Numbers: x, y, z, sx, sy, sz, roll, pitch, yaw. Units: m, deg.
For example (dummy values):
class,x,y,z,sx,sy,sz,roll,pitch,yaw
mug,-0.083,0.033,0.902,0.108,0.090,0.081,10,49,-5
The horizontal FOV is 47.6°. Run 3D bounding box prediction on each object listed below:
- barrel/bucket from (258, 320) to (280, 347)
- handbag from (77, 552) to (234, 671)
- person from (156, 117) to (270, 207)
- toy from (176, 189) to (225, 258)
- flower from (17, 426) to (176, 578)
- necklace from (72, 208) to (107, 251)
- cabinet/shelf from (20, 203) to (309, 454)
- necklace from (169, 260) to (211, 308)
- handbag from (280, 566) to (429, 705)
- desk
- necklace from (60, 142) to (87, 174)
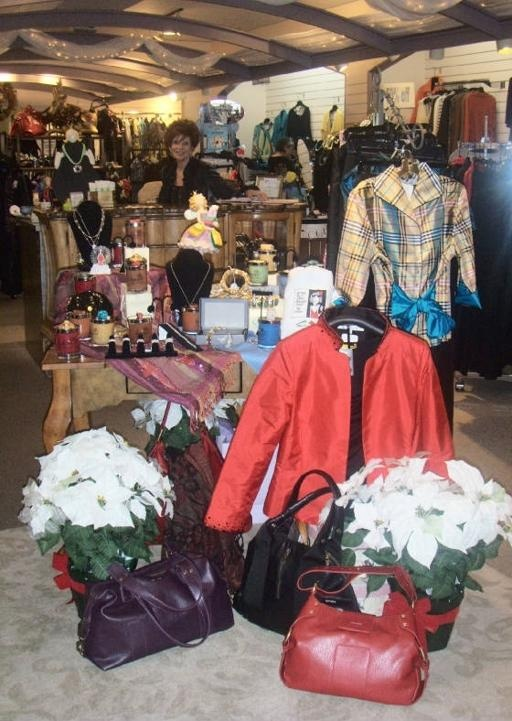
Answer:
class,x,y,z,sx,sy,sz,roll,pitch,yaw
barrel/bucket,0.049,-0.100,2.178,0.091,0.099,0.091,1,8,0
handbag,-0.270,0.721,1.682,0.441,0.258,0.235,-9,-1,-31
person,-0.563,-1.870,5.602,0.897,0.707,0.716,0,11,3
toy,-0.248,-0.593,2.512,0.172,0.266,0.260,-2,11,-7
flower,-0.474,0.436,1.747,0.404,0.410,0.289,2,11,13
necklace,-1.073,-0.843,3.694,0.230,0.262,0.189,-1,11,0
cabinet/shelf,-0.888,-0.409,5.705,2.453,2.348,0.889,-3,9,-21
necklace,-0.286,-0.340,2.550,0.207,0.317,0.131,2,12,-7
handbag,0.244,0.645,1.402,0.370,0.338,0.204,0,11,2
desk,-0.439,0.063,2.147,0.627,0.475,0.455,-1,11,-5
necklace,-1.866,-2.075,5.951,0.312,0.312,0.094,3,1,-20
